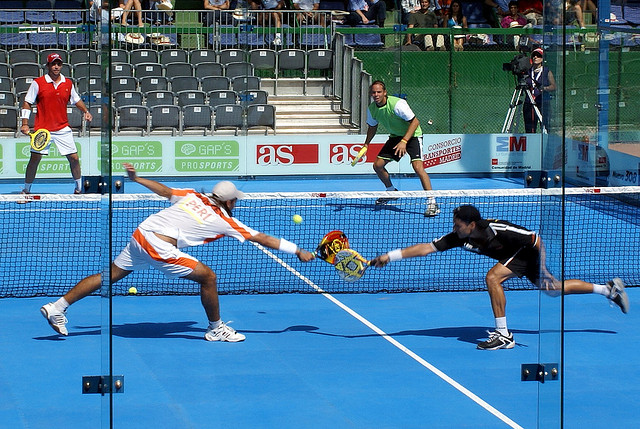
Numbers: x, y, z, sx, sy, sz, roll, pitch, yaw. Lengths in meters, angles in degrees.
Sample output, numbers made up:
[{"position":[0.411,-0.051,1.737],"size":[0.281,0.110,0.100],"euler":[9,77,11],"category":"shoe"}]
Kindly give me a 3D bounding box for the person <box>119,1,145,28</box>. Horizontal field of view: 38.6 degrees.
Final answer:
[{"position":[-5.324,-5.665,25.817],"size":[0.662,0.686,2.655],"euler":[-3,15,-12],"category":"person"}]

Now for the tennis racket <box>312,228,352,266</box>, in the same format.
[{"position":[0.175,0.429,11.918],"size":[0.337,0.503,0.420],"euler":[2,-2,-6],"category":"tennis racket"}]

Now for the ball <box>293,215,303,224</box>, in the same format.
[{"position":[-0.317,0.076,12.756],"size":[0.097,0.101,0.130],"euler":[21,0,17],"category":"ball"}]

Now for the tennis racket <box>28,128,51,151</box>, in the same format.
[{"position":[-5.515,-1.443,17.996],"size":[0.653,0.454,0.307],"euler":[7,16,24],"category":"tennis racket"}]

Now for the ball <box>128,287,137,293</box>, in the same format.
[{"position":[-2.862,1.160,13.945],"size":[0.071,0.084,0.099],"euler":[4,12,17],"category":"ball"}]
